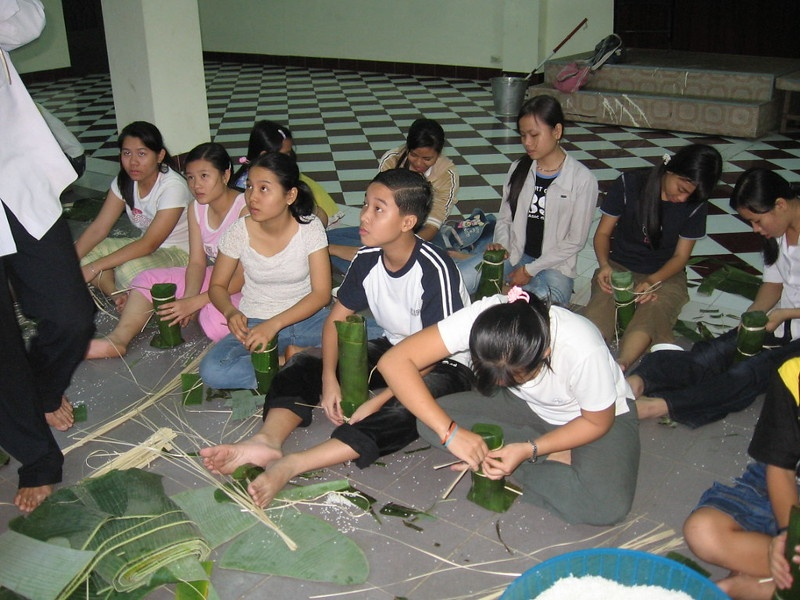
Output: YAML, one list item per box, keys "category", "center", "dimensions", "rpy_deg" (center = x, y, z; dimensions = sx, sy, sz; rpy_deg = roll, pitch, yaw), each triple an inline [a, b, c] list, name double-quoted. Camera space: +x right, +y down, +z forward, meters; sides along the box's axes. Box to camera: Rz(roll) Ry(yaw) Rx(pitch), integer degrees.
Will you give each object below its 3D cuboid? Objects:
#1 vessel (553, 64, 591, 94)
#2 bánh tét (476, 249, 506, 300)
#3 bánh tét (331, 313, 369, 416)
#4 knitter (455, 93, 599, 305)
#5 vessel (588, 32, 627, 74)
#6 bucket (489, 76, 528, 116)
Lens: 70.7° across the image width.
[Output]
- category: "vessel"
  center: [2.203, -2.823, 7.310]
  dimensions: [0.162, 0.295, 0.415]
  rpy_deg: [25, -24, -37]
- category: "bánh tét"
  center: [0.477, -0.123, 2.941]
  dimensions: [0.132, 0.256, 0.191]
  rpy_deg: [6, 39, 6]
- category: "bánh tét"
  center: [-0.205, 0.265, 2.361]
  dimensions: [0.165, 0.378, 0.177]
  rpy_deg: [19, 29, 24]
- category: "knitter"
  center: [0.688, -0.440, 3.261]
  dimensions: [0.751, 1.297, 0.662]
  rpy_deg: [3, 31, 2]
- category: "vessel"
  center: [2.685, -3.198, 7.376]
  dimensions: [0.260, 0.369, 0.631]
  rpy_deg: [35, 82, 37]
- category: "bucket"
  center: [1.513, -2.827, 7.763]
  dimensions: [0.542, 0.512, 0.507]
  rpy_deg: [-3, 35, 2]
